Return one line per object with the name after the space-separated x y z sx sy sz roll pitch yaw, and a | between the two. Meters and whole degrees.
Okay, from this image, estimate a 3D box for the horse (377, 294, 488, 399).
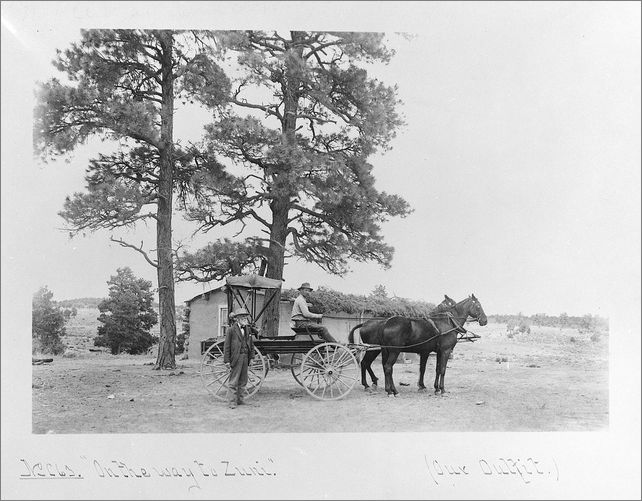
3.158 2.828 21.769 3.192 3.312 1.333 3 -17 -10 | horse

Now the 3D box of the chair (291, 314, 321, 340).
-0.393 1.988 19.263 0.689 0.818 0.534 -4 -4 -2 | chair

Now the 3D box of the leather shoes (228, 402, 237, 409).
-2.162 3.812 18.324 0.113 0.182 0.162 -3 -19 -24 | leather shoes
